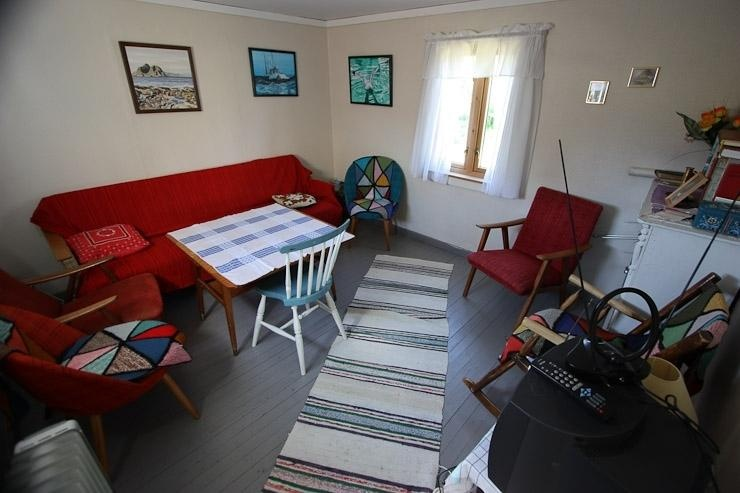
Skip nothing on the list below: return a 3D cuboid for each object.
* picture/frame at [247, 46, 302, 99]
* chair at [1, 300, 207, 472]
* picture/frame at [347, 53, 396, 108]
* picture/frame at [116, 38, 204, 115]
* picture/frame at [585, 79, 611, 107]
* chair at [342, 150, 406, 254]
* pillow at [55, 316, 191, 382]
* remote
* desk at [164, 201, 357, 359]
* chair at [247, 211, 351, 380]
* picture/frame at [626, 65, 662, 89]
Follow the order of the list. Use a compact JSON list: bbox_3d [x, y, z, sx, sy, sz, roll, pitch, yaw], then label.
[{"bbox_3d":[-1.115,-2.022,4.941,0.634,0.456,0.022,-22,33,-37],"label":"picture/frame"},{"bbox_3d":[-1.818,0.960,2.901,0.544,0.793,0.725,37,43,18],"label":"chair"},{"bbox_3d":[0.043,-1.992,5.076,0.630,0.539,0.029,22,41,30],"label":"picture/frame"},{"bbox_3d":[-2.092,-1.699,4.228,0.700,0.680,0.066,-25,38,-38],"label":"picture/frame"},{"bbox_3d":[2.001,-1.357,3.761,0.192,0.231,0.024,24,27,32],"label":"picture/frame"},{"bbox_3d":[0.074,-0.544,5.191,0.878,1.120,0.830,6,48,8],"label":"chair"},{"bbox_3d":[-1.673,0.705,2.968,0.551,0.104,0.401,-2,39,-11],"label":"pillow"},{"bbox_3d":[1.022,0.698,2.156,0.153,0.085,0.353,-33,48,-18],"label":"remote"},{"bbox_3d":[-1.021,-0.034,3.706,1.307,0.893,1.353,-26,40,-35],"label":"desk"},{"bbox_3d":[-0.622,0.443,3.642,0.653,1.163,0.796,25,38,28],"label":"chair"},{"bbox_3d":[2.288,-1.415,3.571,0.189,0.167,0.025,18,27,29],"label":"picture/frame"}]
